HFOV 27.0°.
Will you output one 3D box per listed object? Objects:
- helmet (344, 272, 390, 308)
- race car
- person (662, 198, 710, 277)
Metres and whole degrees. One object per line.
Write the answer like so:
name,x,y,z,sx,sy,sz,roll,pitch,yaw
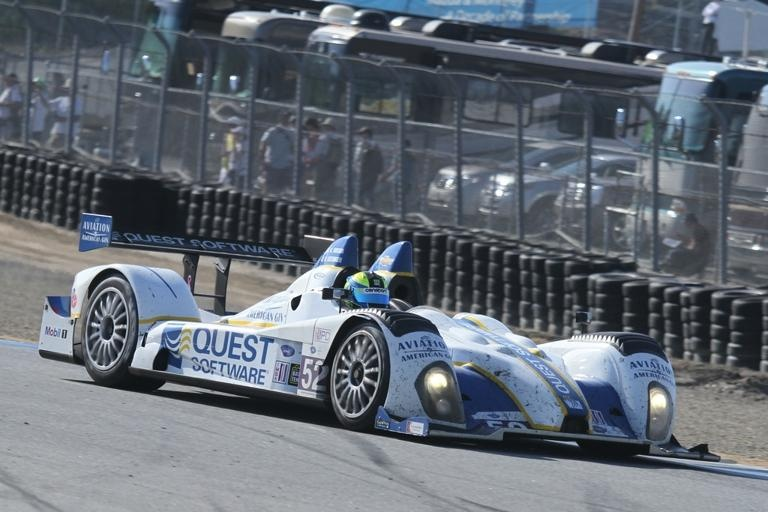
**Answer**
helmet,-0.182,0.417,19.563,0.444,0.390,0.541,5,-7,-34
race car,-0.221,0.955,21.006,4.701,1.923,7.577,8,-1,-42
person,4.742,-0.307,24.640,0.673,1.104,0.590,-3,-3,34
